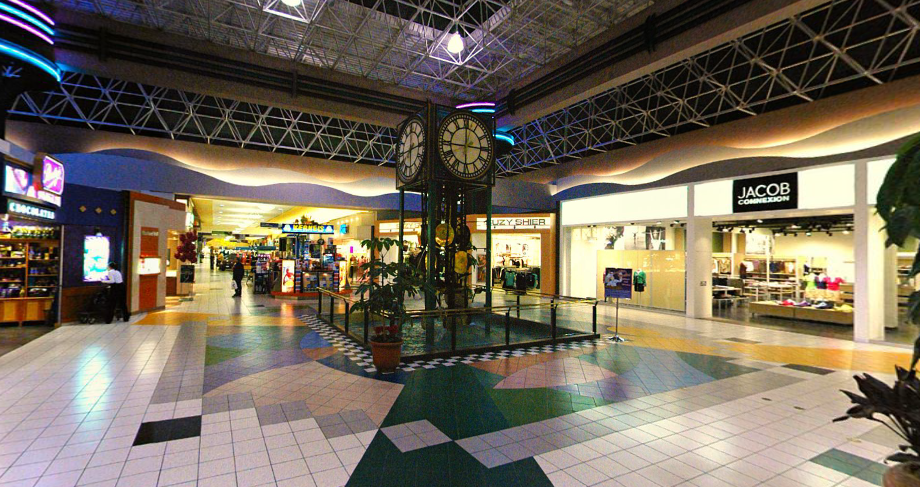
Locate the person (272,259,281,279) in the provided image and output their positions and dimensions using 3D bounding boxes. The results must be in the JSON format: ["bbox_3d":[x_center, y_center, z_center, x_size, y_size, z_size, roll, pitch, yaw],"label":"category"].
[{"bbox_3d":[-9.635,1.327,26.715,0.340,0.933,1.909,1,-2,-23],"label":"person"}]

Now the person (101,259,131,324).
[{"bbox_3d":[-13.178,1.847,19.545,0.858,2.234,0.968,1,-3,-32],"label":"person"}]

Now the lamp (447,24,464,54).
[{"bbox_3d":[-0.196,-9.146,22.934,0.774,1.142,1.475,0,-2,-2],"label":"lamp"}]

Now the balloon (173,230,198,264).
[{"bbox_3d":[-13.692,0.117,25.472,0.878,1.501,1.104,0,-2,-23],"label":"balloon"}]
